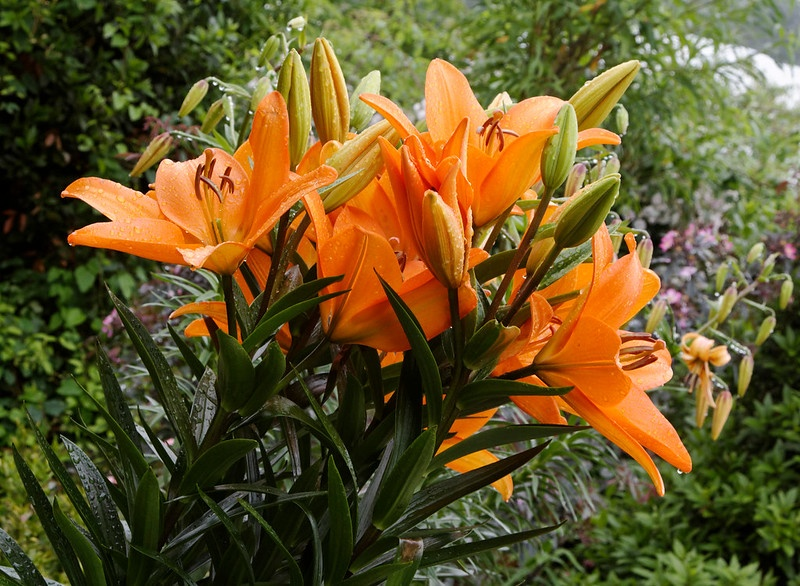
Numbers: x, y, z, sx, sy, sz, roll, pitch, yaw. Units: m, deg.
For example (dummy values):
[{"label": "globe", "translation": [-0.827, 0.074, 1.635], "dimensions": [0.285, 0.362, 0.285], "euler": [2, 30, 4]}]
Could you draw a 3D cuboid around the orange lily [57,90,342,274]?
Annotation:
[{"label": "orange lily", "translation": [-0.250, -0.106, 0.944], "dimensions": [0.314, 0.201, 0.350], "euler": [0, 30, 9]}]

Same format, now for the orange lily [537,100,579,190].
[{"label": "orange lily", "translation": [0.201, -0.181, 0.939], "dimensions": [0.041, 0.119, 0.045], "euler": [5, -6, 14]}]

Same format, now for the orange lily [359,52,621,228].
[{"label": "orange lily", "translation": [0.105, -0.178, 0.989], "dimensions": [0.247, 0.146, 0.250], "euler": [-5, 18, -19]}]

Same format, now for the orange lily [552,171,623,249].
[{"label": "orange lily", "translation": [0.230, -0.092, 0.958], "dimensions": [0.046, 0.125, 0.044], "euler": [42, 20, 11]}]

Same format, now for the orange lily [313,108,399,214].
[{"label": "orange lily", "translation": [-0.048, -0.164, 0.991], "dimensions": [0.062, 0.140, 0.034], "euler": [41, -5, 28]}]

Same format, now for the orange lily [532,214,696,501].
[{"label": "orange lily", "translation": [0.281, 0.090, 1.190], "dimensions": [0.260, 0.538, 0.349], "euler": [-4, -2, 13]}]
